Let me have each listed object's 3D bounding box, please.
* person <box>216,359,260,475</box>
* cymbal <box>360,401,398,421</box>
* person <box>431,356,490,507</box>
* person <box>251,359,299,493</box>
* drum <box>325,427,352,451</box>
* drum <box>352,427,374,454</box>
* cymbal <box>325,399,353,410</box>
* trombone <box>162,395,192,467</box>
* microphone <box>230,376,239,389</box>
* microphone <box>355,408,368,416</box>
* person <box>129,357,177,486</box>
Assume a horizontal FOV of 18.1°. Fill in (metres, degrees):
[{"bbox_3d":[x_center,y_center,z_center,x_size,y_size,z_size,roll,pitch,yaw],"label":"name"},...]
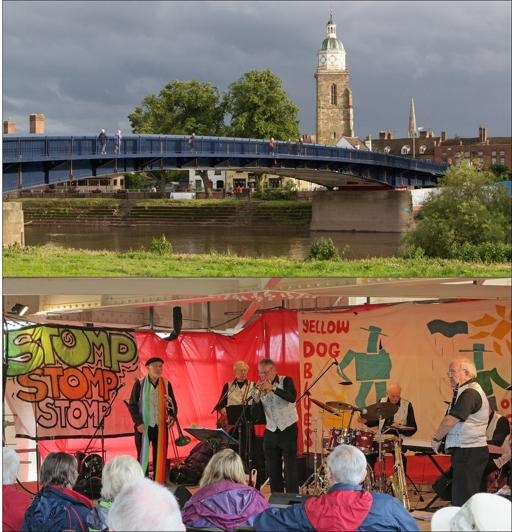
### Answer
[{"bbox_3d":[-0.275,2.134,22.875,0.605,1.587,0.575,-1,2,10],"label":"person"},{"bbox_3d":[1.716,2.001,22.050,0.483,0.308,0.555,2,4,20],"label":"cymbal"},{"bbox_3d":[2.677,2.352,21.032,0.599,2.405,0.743,3,10,22],"label":"person"},{"bbox_3d":[0.256,2.193,22.244,0.507,1.818,0.642,0,-1,10],"label":"person"},{"bbox_3d":[1.138,2.355,22.020,0.266,0.232,0.290,6,-16,-15],"label":"drum"},{"bbox_3d":[1.441,2.346,21.771,0.268,0.300,0.293,3,-7,-11],"label":"drum"},{"bbox_3d":[1.152,1.955,22.314,0.368,0.172,0.582,1,3,-1],"label":"cymbal"},{"bbox_3d":[-1.108,2.349,22.945,0.291,0.987,0.354,2,5,36],"label":"trombone"},{"bbox_3d":[-0.291,1.665,23.015,0.113,0.066,0.175,1,-31,-2],"label":"microphone"},{"bbox_3d":[1.457,1.994,21.976,0.088,0.072,0.131,-12,-1,-43],"label":"microphone"},{"bbox_3d":[-1.449,2.148,22.982,0.620,1.843,0.579,1,4,-36],"label":"person"}]
